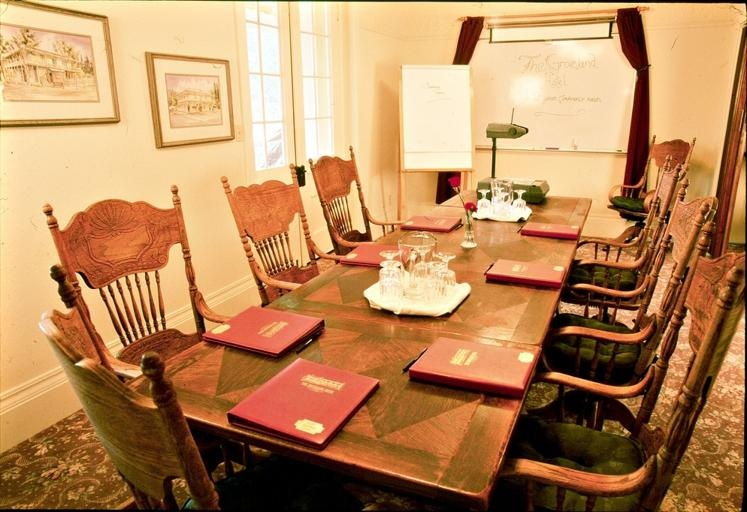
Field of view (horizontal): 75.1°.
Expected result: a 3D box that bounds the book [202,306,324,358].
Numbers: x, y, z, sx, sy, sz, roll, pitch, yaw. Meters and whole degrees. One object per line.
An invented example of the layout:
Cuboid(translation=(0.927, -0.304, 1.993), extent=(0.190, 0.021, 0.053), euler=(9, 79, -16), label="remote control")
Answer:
Cuboid(translation=(-0.478, 0.318, 2.080), extent=(0.294, 0.040, 0.251), euler=(9, 25, 24), label="book")

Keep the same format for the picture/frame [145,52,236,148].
Cuboid(translation=(-1.333, -1.112, 3.444), extent=(0.032, 0.617, 0.791), euler=(7, 14, 28), label="picture/frame")

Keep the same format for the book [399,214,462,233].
Cuboid(translation=(0.389, -0.211, 3.247), extent=(0.211, 0.043, 0.224), euler=(8, 20, 31), label="book")

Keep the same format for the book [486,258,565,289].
Cuboid(translation=(0.780, 0.090, 2.473), extent=(0.215, 0.043, 0.215), euler=(6, 18, 26), label="book")

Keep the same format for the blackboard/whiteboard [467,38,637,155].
Cuboid(translation=(2.116, -1.870, 5.575), extent=(1.851, 1.276, 0.180), euler=(4, 20, 19), label="blackboard/whiteboard")

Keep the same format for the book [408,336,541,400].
Cuboid(translation=(0.387, 0.414, 1.834), extent=(0.262, 0.045, 0.261), euler=(7, 17, 23), label="book")
